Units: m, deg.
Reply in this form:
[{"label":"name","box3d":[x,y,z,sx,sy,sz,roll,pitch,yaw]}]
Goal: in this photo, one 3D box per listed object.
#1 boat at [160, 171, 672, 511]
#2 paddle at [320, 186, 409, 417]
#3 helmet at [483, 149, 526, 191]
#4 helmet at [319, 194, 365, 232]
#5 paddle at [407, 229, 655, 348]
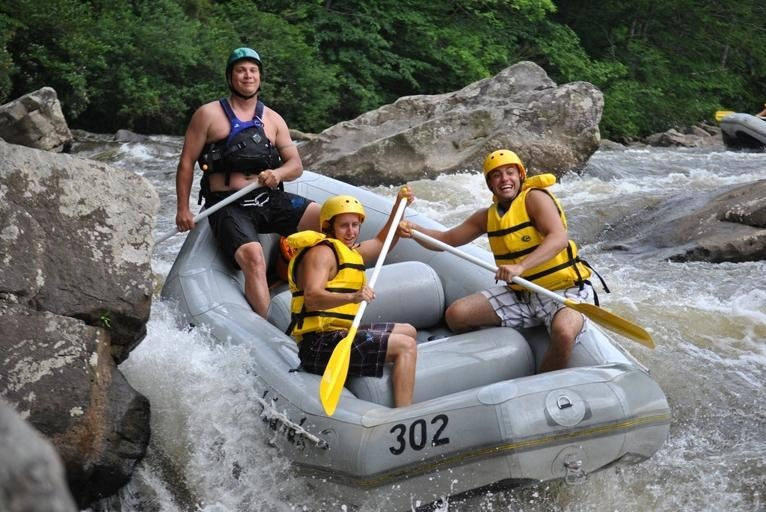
[{"label":"boat","box3d":[0.060,0.750,5.452,1.935,0.809,3.126,-15,41,-44]},{"label":"paddle","box3d":[-0.129,0.391,5.443,0.223,0.132,1.952,15,60,17]},{"label":"helmet","box3d":[0.951,-0.624,5.841,0.286,0.386,0.301,-6,15,9]},{"label":"helmet","box3d":[-0.316,-0.315,5.482,0.297,0.222,0.236,4,3,43]},{"label":"paddle","box3d":[1.133,0.292,5.966,2.562,0.271,0.128,23,21,23]}]
